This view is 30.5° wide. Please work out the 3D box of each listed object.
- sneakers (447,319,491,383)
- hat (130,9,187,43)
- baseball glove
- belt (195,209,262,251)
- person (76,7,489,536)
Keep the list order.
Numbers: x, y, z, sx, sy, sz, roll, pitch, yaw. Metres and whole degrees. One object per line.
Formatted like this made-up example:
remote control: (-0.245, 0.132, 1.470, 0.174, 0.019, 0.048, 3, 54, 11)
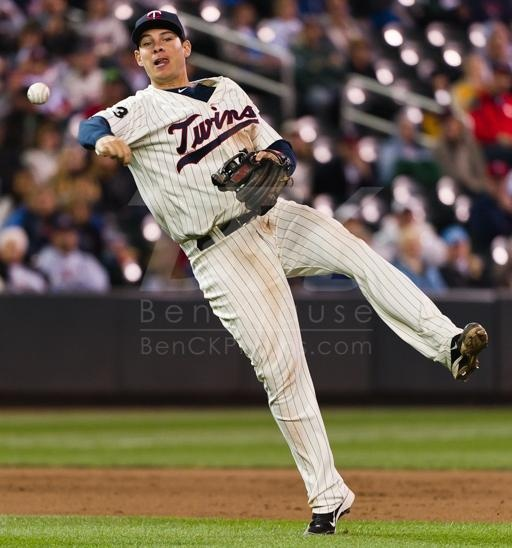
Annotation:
sneakers: (0.597, 0.182, 2.528, 0.067, 0.050, 0.119, -18, 28, -5)
hat: (-0.291, -0.711, 2.688, 0.159, 0.080, 0.175, -5, -11, -13)
baseball glove: (-0.014, -0.257, 2.655, 0.166, 0.065, 0.216, -34, 43, -23)
belt: (-0.071, -0.130, 2.666, 0.171, 0.034, 0.111, -25, 18, 1)
person: (0.039, 0.007, 2.672, 0.986, 1.537, 0.490, -6, 10, -8)
